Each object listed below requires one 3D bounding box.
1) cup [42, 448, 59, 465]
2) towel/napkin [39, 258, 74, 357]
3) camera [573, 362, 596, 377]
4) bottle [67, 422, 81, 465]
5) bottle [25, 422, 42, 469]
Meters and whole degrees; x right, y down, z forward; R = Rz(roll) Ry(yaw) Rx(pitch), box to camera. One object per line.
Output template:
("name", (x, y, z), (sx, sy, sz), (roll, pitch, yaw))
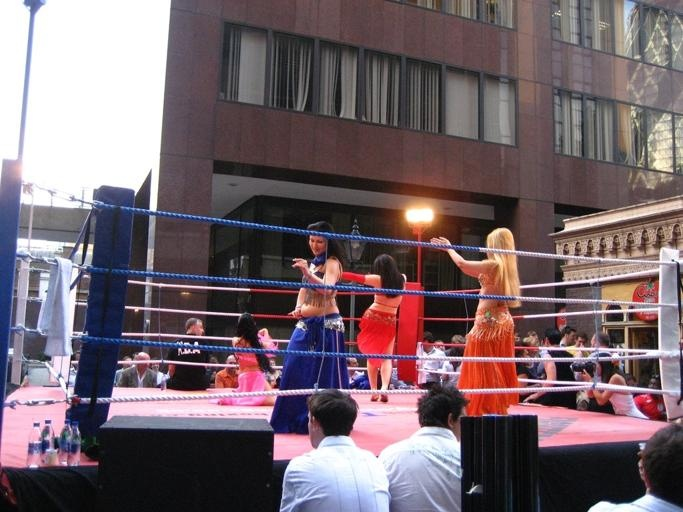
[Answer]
("cup", (-1.906, 1.315, 4.591), (0.094, 0.111, 0.095), (1, 0, 0))
("towel/napkin", (-1.951, 0.333, 4.799), (0.225, 0.679, 0.474), (5, -7, -23))
("camera", (2.532, 1.164, 7.358), (0.161, 0.092, 0.225), (4, -5, -34))
("bottle", (-1.770, 1.234, 4.655), (0.084, 0.258, 0.232), (4, -7, -20))
("bottle", (-2.008, 1.219, 4.587), (0.093, 0.270, 0.265), (5, -7, -23))
